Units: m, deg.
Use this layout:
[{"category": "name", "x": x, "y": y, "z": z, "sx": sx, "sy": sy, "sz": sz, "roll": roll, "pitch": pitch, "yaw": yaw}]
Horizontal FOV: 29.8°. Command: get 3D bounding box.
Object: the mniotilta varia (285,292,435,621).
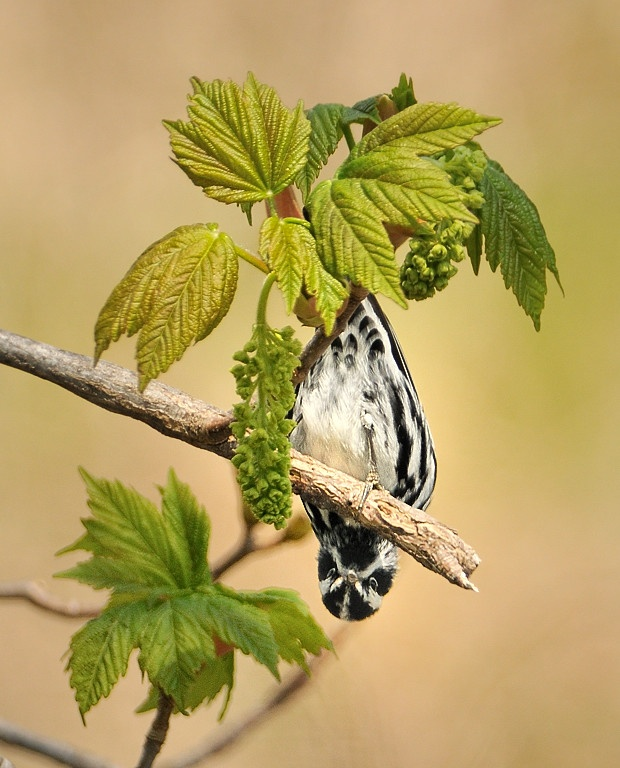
[{"category": "mniotilta varia", "x": 0.141, "y": 0.163, "z": 2.177, "sx": 0.237, "sy": 0.251, "sz": 0.602, "roll": -6, "pitch": -77, "yaw": 17}]
